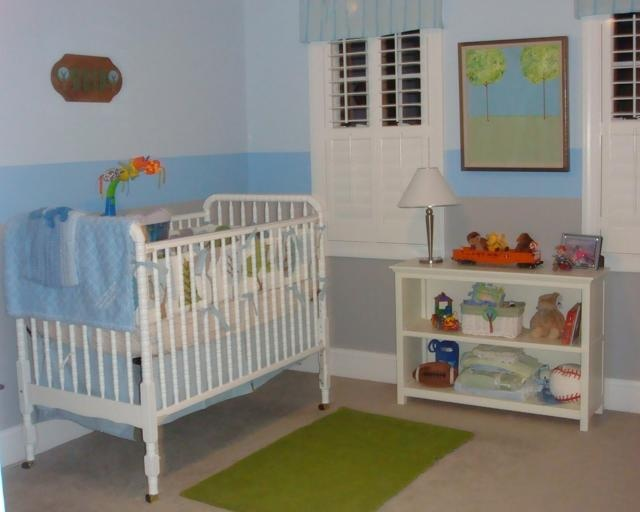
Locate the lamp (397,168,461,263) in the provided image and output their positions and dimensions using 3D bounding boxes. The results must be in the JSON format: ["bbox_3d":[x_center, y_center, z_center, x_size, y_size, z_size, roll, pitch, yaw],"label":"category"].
[{"bbox_3d":[0.652,-0.245,3.656,0.339,0.570,0.401,-1,11,12],"label":"lamp"}]

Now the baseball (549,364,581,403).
[{"bbox_3d":[1.344,0.691,3.345,0.155,0.194,0.207,1,12,20],"label":"baseball"}]

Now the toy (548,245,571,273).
[{"bbox_3d":[1.306,0.024,3.336,0.117,0.215,0.156,3,-1,21],"label":"toy"}]

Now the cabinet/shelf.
[{"bbox_3d":[1.052,0.519,3.447,0.861,0.634,0.286,1,2,25],"label":"cabinet/shelf"}]

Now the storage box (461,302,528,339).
[{"bbox_3d":[0.994,0.357,3.553,0.328,0.185,0.231,3,6,24],"label":"storage box"}]

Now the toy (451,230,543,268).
[{"bbox_3d":[1.014,-0.043,3.490,0.444,0.170,0.155,3,8,22],"label":"toy"}]

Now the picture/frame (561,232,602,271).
[{"bbox_3d":[1.458,-0.005,3.415,0.214,0.226,0.222,9,25,38],"label":"picture/frame"}]

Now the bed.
[{"bbox_3d":[-0.717,0.307,3.436,1.162,1.310,1.602,2,6,27],"label":"bed"}]

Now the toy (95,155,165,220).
[{"bbox_3d":[-1.070,-0.377,3.417,0.325,0.367,0.254,-13,49,-31],"label":"toy"}]

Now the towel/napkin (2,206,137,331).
[{"bbox_3d":[-1.105,0.061,2.686,0.512,0.382,0.106,7,11,31],"label":"towel/napkin"}]

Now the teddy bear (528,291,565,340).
[{"bbox_3d":[1.283,0.325,3.448,0.169,0.264,0.262,3,18,23],"label":"teddy bear"}]

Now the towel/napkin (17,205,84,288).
[{"bbox_3d":[-1.221,-0.042,2.791,0.321,0.328,0.170,3,1,18],"label":"towel/napkin"}]
